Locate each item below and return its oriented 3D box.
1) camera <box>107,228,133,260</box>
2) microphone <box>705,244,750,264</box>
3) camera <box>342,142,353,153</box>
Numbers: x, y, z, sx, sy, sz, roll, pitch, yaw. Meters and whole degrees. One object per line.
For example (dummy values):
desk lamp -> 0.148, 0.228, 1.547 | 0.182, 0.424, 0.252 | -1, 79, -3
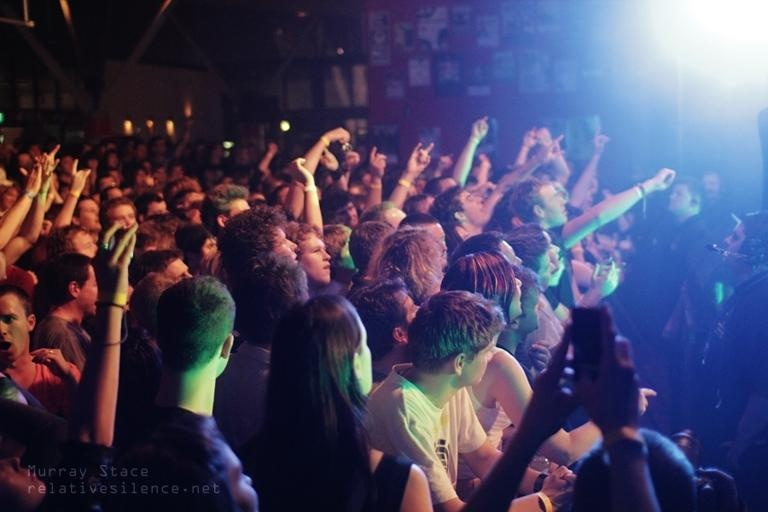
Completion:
camera -> -1.308, -0.055, 3.282 | 0.097, 0.176, 0.093 | 32, 26, 26
microphone -> 2.876, -0.017, 5.526 | 0.264, 0.072, 0.082 | 20, 29, 22
camera -> -0.392, -1.122, 6.916 | 0.081, 0.079, 0.103 | 3, 3, 30
